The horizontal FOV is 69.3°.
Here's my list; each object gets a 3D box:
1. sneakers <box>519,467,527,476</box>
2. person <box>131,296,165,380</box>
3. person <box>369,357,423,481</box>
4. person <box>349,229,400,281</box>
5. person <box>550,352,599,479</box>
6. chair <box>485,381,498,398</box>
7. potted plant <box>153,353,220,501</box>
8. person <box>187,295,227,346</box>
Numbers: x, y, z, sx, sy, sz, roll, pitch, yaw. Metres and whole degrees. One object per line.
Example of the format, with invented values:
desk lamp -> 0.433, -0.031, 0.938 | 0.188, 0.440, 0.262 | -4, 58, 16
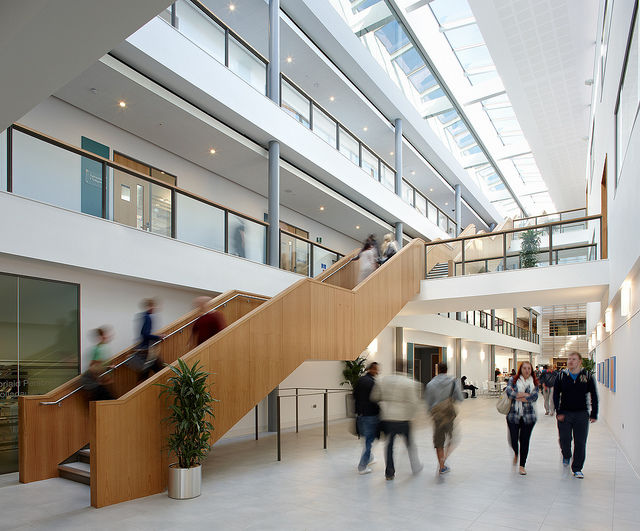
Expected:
sneakers -> 3.154, 3.187, 7.167 | 0.067, 0.100, 0.235 | -3, -15, 7
person -> -2.929, 1.260, 7.943 | 0.487, 1.391, 0.447 | 6, -10, -28
person -> 1.157, 2.424, 7.077 | 0.688, 1.545, 0.709 | -3, -10, 22
person -> 1.497, -0.276, 12.927 | 1.102, 1.395, 1.419 | -2, -10, 17
person -> 3.810, 2.237, 6.965 | 0.452, 1.847, 0.833 | 1, -9, -2
chair -> 9.794, 6.994, 26.172 | 0.661, 1.061, 0.727 | -1, -6, 39
potted plant -> -1.836, 2.185, 6.355 | 0.677, 1.769, 0.752 | 4, -9, -18
person -> -2.089, 1.008, 8.475 | 0.467, 0.869, 0.729 | 9, -12, -40
